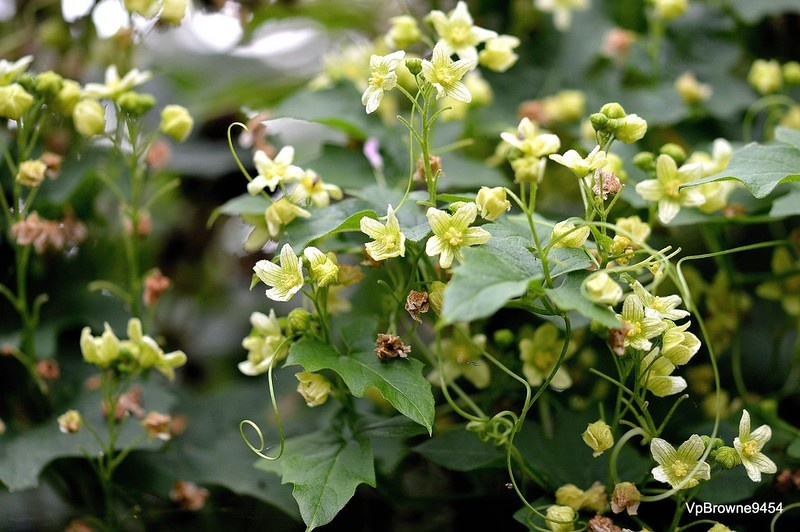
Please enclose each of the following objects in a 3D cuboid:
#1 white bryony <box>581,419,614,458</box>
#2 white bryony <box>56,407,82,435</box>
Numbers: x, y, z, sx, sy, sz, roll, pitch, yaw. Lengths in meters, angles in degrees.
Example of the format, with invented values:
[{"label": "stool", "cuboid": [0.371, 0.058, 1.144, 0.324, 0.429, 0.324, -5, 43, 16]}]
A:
[{"label": "white bryony", "cuboid": [0.396, 0.346, 1.538, 0.069, 0.028, 0.068, 25, 101, 41]}, {"label": "white bryony", "cuboid": [-0.713, 0.331, 1.678, 0.050, 0.064, 0.030, 22, 89, 3]}]
